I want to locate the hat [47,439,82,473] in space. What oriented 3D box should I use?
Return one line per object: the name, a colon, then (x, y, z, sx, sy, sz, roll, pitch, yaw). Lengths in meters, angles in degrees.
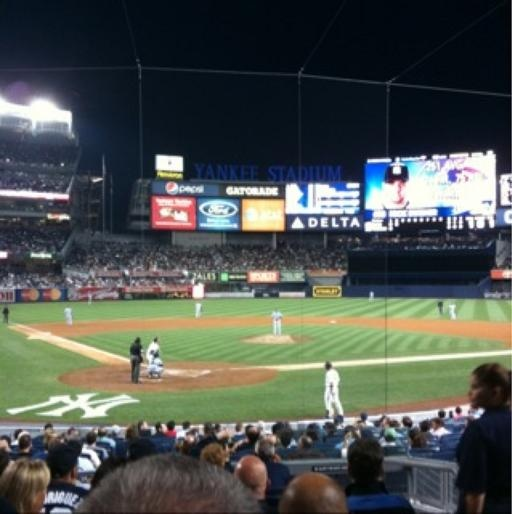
hat: (-2.550, 2.580, 13.448, 0.280, 0.235, 0.430, -1, 30, -8)
